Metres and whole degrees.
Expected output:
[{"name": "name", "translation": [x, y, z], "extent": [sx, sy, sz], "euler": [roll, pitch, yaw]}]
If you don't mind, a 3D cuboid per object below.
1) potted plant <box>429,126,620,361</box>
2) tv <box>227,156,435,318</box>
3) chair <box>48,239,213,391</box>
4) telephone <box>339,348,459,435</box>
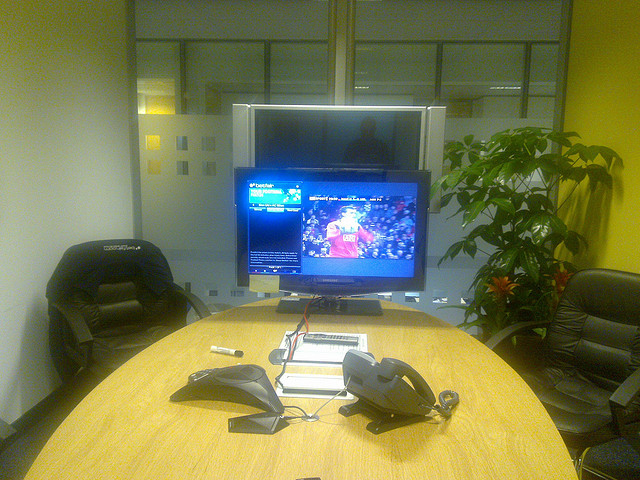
[{"name": "potted plant", "translation": [1.157, 0.088, 2.881], "extent": [0.965, 1.380, 0.758], "euler": [-3, 11, 34]}, {"name": "tv", "translation": [0.054, -0.026, 2.299], "extent": [1.079, 0.746, 0.281], "euler": [1, 5, 1]}, {"name": "chair", "translation": [-1.129, 0.545, 2.788], "extent": [0.912, 0.903, 0.853], "euler": [2, 12, -16]}, {"name": "telephone", "translation": [0.313, 0.539, 1.760], "extent": [0.476, 0.210, 0.450], "euler": [4, -3, -41]}]
